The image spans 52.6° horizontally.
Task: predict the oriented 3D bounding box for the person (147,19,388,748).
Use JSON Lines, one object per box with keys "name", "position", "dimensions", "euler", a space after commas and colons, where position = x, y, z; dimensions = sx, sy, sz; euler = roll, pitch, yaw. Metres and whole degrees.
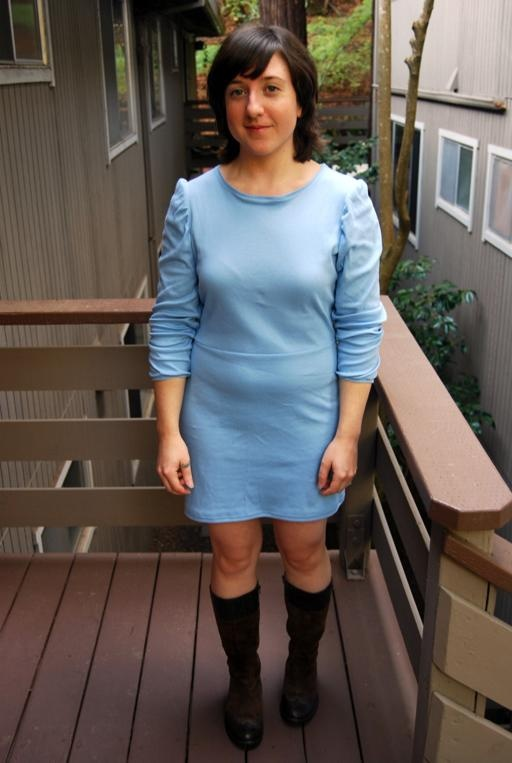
{"name": "person", "position": [0.028, 0.116, 1.036], "dimensions": [0.445, 1.443, 0.300], "euler": [-5, 13, -19]}
